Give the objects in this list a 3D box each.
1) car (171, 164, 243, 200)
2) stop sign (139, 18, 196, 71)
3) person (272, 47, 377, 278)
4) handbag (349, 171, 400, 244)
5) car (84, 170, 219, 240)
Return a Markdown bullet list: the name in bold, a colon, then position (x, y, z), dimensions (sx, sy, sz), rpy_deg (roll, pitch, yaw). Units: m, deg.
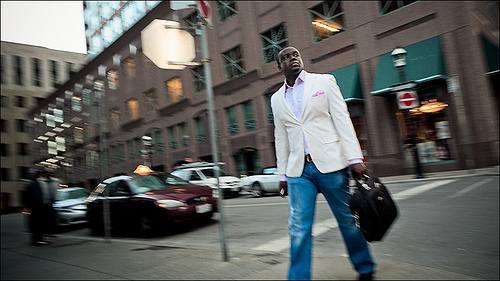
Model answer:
- **car**: position (-1.871, 1.666, 13.790), dimensions (3.221, 1.117, 1.532), rpy_deg (-6, -4, 39)
- **stop sign**: position (-1.786, -2.117, 7.541), dimensions (1.067, 1.026, 0.385), rpy_deg (-7, 5, 32)
- **person**: position (0.936, 0.308, 5.246), dimensions (1.365, 2.541, 0.640), rpy_deg (-11, 4, 1)
- **handbag**: position (1.787, 1.023, 5.122), dimensions (0.669, 0.684, 0.280), rpy_deg (-11, 4, -26)
- **car**: position (-2.825, 1.782, 9.632), dimensions (3.612, 1.048, 1.728), rpy_deg (-9, -11, 32)
